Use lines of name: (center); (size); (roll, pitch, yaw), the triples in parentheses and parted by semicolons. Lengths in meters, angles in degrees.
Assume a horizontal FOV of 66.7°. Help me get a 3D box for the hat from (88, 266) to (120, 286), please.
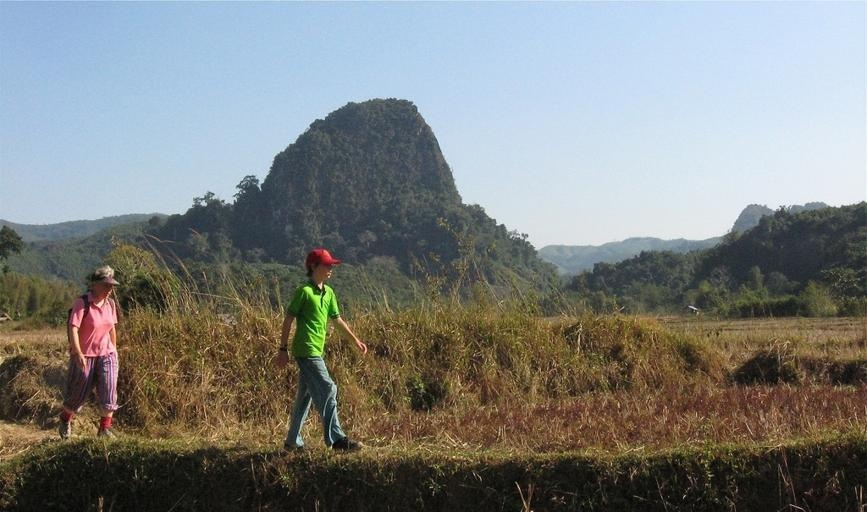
hat: (-6.494, 0.421, 13.053); (0.426, 0.422, 0.548); (-10, 16, -29)

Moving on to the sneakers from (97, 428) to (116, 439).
sneakers: (-6.370, 3.514, 12.944); (0.201, 0.102, 0.262); (3, -31, 33)

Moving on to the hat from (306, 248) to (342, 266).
hat: (-2.077, 0.041, 12.522); (0.645, 0.248, 0.414); (1, 2, 1)
